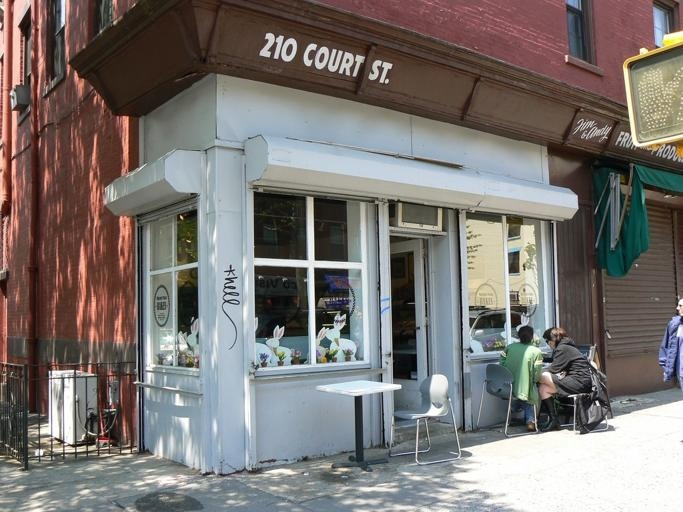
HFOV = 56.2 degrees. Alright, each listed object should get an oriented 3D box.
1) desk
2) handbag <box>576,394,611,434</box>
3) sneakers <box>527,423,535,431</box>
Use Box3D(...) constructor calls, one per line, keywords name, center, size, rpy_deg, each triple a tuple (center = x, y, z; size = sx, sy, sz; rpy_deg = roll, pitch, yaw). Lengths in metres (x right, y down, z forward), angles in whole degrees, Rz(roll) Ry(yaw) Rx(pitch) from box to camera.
Box3D(name="desk", center=(0.247, 2.211, 8.532), size=(1.007, 1.117, 1.062), rpy_deg=(-2, -3, 33))
Box3D(name="handbag", center=(3.924, 2.462, 9.957), size=(0.528, 0.631, 0.235), rpy_deg=(0, -9, -6))
Box3D(name="sneakers", center=(3.011, 2.702, 10.057), size=(0.094, 0.101, 0.126), rpy_deg=(3, -14, 7))
